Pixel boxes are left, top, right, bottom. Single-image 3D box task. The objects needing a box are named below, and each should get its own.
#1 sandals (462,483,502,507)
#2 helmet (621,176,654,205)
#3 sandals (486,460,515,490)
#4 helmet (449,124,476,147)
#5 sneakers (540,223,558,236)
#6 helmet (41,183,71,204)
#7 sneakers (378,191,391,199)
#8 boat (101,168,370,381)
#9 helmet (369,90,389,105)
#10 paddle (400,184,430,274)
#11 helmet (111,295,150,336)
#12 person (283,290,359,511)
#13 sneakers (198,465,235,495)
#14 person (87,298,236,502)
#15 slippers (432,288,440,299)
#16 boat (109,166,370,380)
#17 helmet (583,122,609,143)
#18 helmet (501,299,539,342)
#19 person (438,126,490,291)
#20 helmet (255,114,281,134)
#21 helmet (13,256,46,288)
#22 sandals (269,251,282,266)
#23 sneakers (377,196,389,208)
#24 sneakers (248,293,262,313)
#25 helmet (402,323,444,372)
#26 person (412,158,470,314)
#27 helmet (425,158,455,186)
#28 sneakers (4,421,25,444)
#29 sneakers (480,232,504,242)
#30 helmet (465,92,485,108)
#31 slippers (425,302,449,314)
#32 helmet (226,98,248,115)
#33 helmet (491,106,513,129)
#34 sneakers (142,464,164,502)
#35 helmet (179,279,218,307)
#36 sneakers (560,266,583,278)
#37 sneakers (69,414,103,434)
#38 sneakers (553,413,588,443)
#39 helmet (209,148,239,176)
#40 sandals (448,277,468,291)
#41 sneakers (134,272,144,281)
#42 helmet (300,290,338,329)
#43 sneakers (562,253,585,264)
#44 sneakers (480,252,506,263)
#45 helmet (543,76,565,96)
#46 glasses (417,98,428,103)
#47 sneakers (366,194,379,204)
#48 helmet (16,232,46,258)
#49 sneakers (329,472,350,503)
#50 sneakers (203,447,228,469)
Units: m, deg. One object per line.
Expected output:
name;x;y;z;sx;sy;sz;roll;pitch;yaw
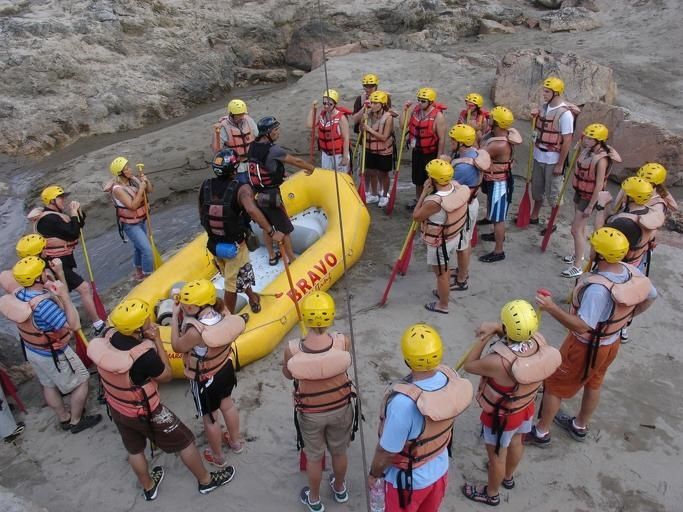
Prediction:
sandals;1.498;2.541;5.974;0.369;0.146;0.181;15;39;19
helmet;3.632;-0.787;6.802;0.404;0.319;0.301;0;27;6
sandals;1.757;2.389;6.118;0.087;0.107;0.251;-31;57;-5
helmet;1.722;-1.741;8.070;0.391;0.304;0.284;14;22;19
sneakers;3.403;-0.427;9.185;0.331;0.131;0.109;-21;62;25
helmet;-4.100;-0.853;7.892;0.249;0.260;0.379;-18;31;-28
sneakers;0.793;-1.140;10.422;0.139;0.167;0.389;-10;9;11
boat;-0.983;0.812;8.776;2.380;0.969;4.161;26;54;26
helmet;0.639;-2.668;9.459;0.298;0.242;0.219;17;-8;-29
paddle;1.096;-0.354;8.395;0.217;1.482;0.124;20;8;-4
helmet;-2.159;0.627;5.797;0.373;0.290;0.322;-25;56;-34
person;-0.215;1.550;5.754;0.707;2.303;0.670;-17;31;-26
sneakers;-1.386;2.480;6.311;0.442;0.190;0.177;-23;47;-20
person;-2.001;1.583;5.916;1.168;2.213;0.649;7;29;18
slippers;1.388;0.531;8.179;0.142;0.057;0.050;26;74;22
boat;-1.022;0.435;8.427;2.342;0.998;4.232;26;54;26
helmet;3.560;-1.704;7.817;0.329;0.238;0.213;-1;27;3
helmet;1.695;0.689;5.490;0.326;0.366;0.397;11;3;-13
person;1.667;-0.657;8.265;0.866;2.457;0.842;14;29;27
helmet;-1.042;-1.861;7.802;0.375;0.301;0.284;1;5;-13
helmet;-3.681;0.175;6.568;0.286;0.326;0.372;16;-4;6
sandals;-1.066;0.028;9.020;0.102;0.119;0.298;6;31;16
sneakers;0.750;-0.988;10.315;0.109;0.119;0.261;3;44;15
sneakers;-1.210;0.638;7.749;0.112;0.331;0.129;-13;1;-2
helmet;0.749;0.820;5.213;0.327;0.356;0.406;-13;28;1
person;1.369;-0.147;7.657;0.713;1.897;0.531;-15;30;-22
helmet;1.259;-1.082;7.255;0.332;0.327;0.295;1;27;7
sneakers;-4.038;2.177;6.967;0.100;0.127;0.293;26;47;10
sneakers;2.474;-0.321;9.255;0.316;0.136;0.112;13;46;11
helmet;2.172;-2.520;9.127;0.223;0.219;0.327;11;30;24
slippers;1.346;0.719;7.926;0.297;0.100;0.137;12;38;30
helmet;-1.781;-2.515;9.488;0.279;0.248;0.448;-4;27;-3
helmet;2.374;-2.046;8.327;0.295;0.340;0.393;4;28;13
sneakers;-2.108;2.527;6.255;0.132;0.145;0.356;3;49;0
helmet;-1.499;0.354;5.827;0.329;0.210;0.250;-9;36;-25
sneakers;3.443;0.220;8.432;0.411;0.178;0.149;1;39;16
sneakers;-3.171;2.046;6.967;0.380;0.180;0.150;-16;37;-29
sneakers;2.637;1.953;6.585;0.167;0.184;0.450;-25;45;-27
helmet;-1.476;-1.209;7.016;0.287;0.300;0.347;17;62;7
sandals;1.715;0.415;8.267;0.301;0.129;0.129;3;46;8
sneakers;-3.440;0.310;9.473;0.127;0.141;0.331;-1;16;-11
helmet;-0.246;0.517;5.620;0.347;0.324;0.424;-2;6;-8
sneakers;3.557;0.024;8.634;0.232;0.099;0.084;4;42;10
sneakers;2.369;0.000;8.789;0.371;0.148;0.168;-1;35;3
helmet;3.272;-2.595;8.631;0.273;0.275;0.455;12;30;26
glasses;1.312;-2.488;9.009;0.175;0.072;0.079;10;30;23
sneakers;0.547;-1.074;10.478;0.266;0.114;0.111;1;53;-12
helmet;-3.886;-0.082;6.990;0.378;0.351;0.310;-2;29;-28
sneakers;-0.037;2.468;6.129;0.140;0.159;0.393;-3;29;-11
sneakers;-1.452;2.255;6.375;0.285;0.124;0.149;25;39;21
